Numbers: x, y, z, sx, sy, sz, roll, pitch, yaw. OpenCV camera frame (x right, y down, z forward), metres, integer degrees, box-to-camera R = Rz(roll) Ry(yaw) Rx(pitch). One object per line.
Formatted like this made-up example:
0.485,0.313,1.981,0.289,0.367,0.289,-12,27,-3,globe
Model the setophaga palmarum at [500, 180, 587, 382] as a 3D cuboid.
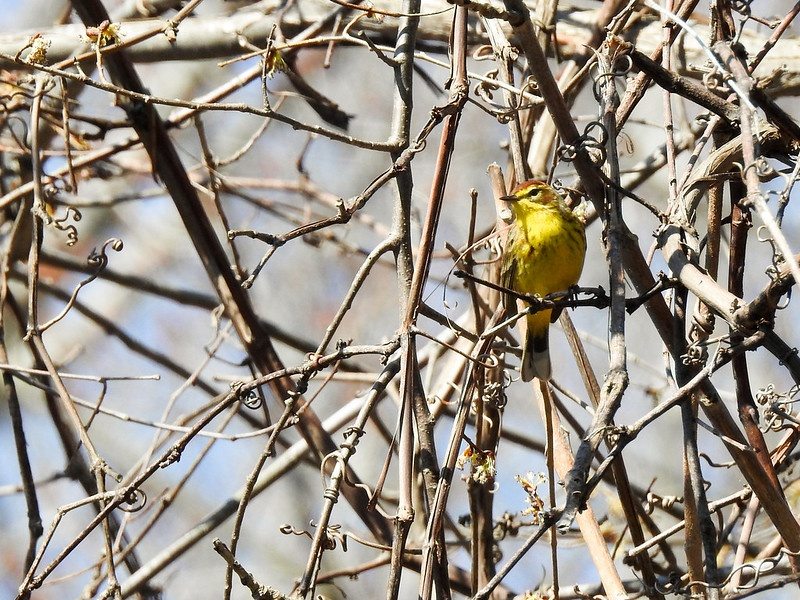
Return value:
0.857,-0.204,6.203,0.401,0.557,1.369,0,-58,-7,setophaga palmarum
